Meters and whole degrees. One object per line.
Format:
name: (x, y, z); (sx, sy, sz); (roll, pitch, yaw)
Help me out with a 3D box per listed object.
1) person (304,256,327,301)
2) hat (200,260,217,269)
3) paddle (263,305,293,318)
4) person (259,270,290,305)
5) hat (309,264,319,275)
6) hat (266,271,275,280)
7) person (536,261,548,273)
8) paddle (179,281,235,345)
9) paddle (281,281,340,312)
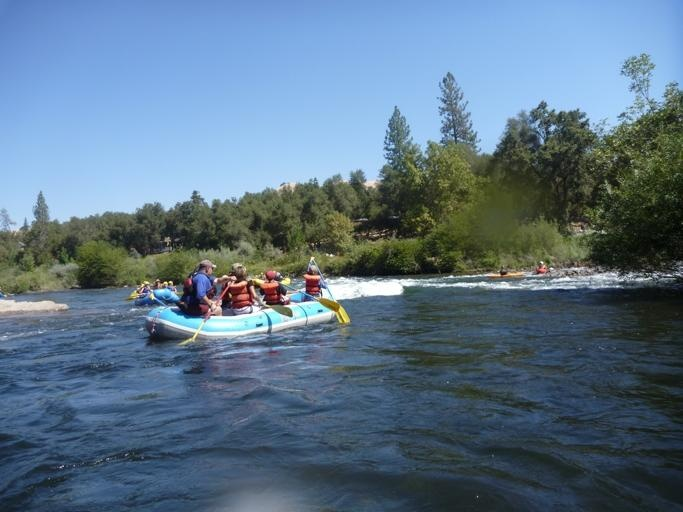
person: (-1.195, 1.007, 23.076); (0.904, 0.437, 1.829); (3, 43, -3)
hat: (-3.456, 0.220, 13.065); (0.258, 0.159, 0.422); (6, 4, 16)
paddle: (-1.707, 1.537, 14.198); (1.156, 0.292, 0.163); (10, 4, 36)
person: (-1.968, 0.927, 14.918); (0.846, 0.436, 1.007); (6, 2, 4)
hat: (-0.996, 0.504, 17.462); (0.293, 0.378, 0.331); (-8, -4, 3)
hat: (-2.041, 0.579, 14.525); (0.232, 0.175, 0.238); (0, 7, -2)
person: (11.789, 0.717, 29.804); (0.743, 0.510, 1.030); (-4, -2, 20)
paddle: (-3.535, 1.542, 13.161); (0.286, 0.288, 2.526); (-5, 30, 35)
paddle: (-1.119, 1.545, 16.491); (1.936, 0.464, 1.097); (-2, 27, -8)
